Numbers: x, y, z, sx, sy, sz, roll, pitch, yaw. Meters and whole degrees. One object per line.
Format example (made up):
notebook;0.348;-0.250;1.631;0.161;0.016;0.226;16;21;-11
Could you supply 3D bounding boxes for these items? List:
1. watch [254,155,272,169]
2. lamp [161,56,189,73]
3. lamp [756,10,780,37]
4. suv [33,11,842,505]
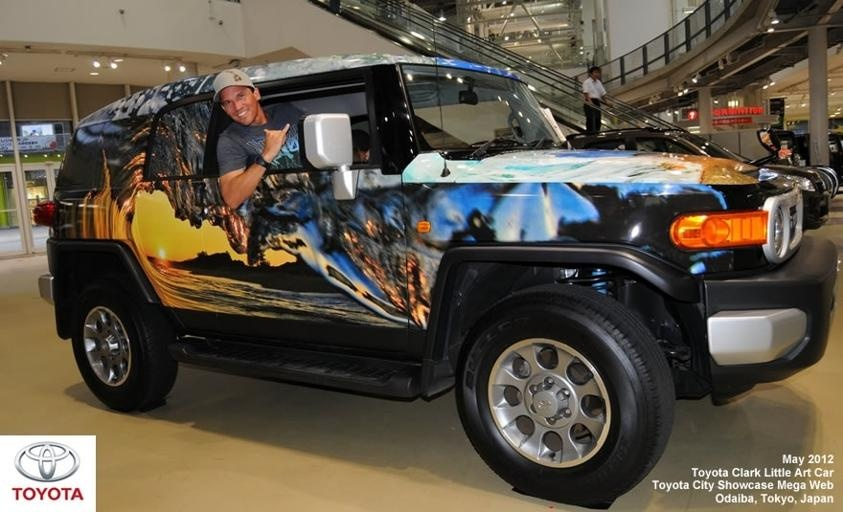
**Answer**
watch;-1.170;-0.689;3.882;0.056;0.079;0.086;-36;62;-6
lamp;-7.668;-5.936;16.503;0.528;0.190;0.513;2;-4;-36
lamp;11.630;-7.837;17.801;0.617;0.622;0.578;-17;33;16
suv;0.012;-0.026;4.713;5.481;2.447;3.302;1;6;27
